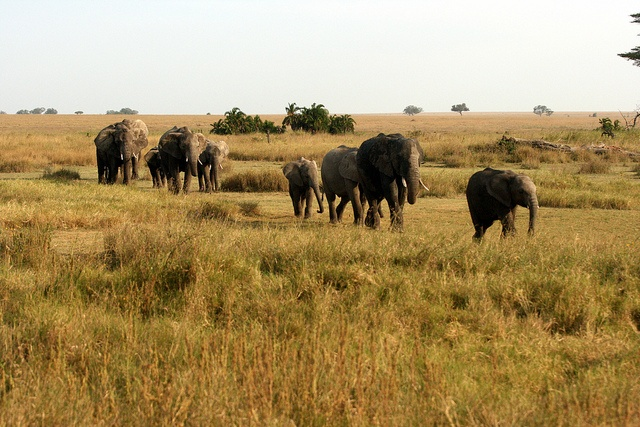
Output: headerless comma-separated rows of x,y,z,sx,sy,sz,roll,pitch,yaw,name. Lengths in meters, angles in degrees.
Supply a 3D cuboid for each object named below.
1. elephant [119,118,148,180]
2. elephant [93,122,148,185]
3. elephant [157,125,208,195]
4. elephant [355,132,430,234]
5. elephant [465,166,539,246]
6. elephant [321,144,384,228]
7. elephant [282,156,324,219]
-6.283,-2.178,24.380,1.191,1.794,2.640,0,15,-11,elephant
-6.185,-1.986,22.977,1.415,1.974,2.801,-2,6,-9,elephant
-4.209,-1.564,21.770,1.175,1.791,2.749,2,0,-29,elephant
1.513,-0.642,15.856,0.947,2.098,3.009,-2,2,-17,elephant
3.536,-0.129,14.426,0.760,1.476,1.633,-2,1,-34,elephant
0.808,-0.628,17.086,2.130,1.792,0.995,-1,2,45,elephant
-0.437,-0.609,18.519,0.906,1.542,2.144,-4,1,-19,elephant
